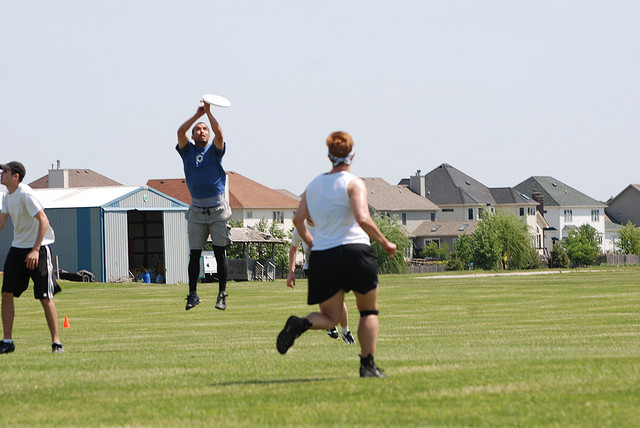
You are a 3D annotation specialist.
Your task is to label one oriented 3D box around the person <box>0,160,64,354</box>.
[{"bbox_3d":[-4.572,0.656,15.204,0.967,3.047,0.647,-1,-4,4],"label":"person"}]
